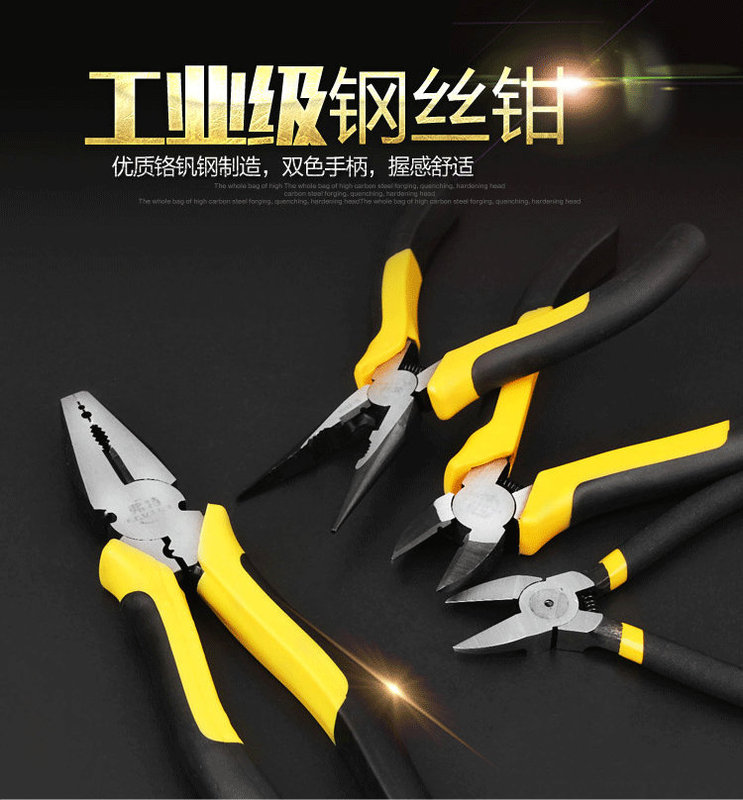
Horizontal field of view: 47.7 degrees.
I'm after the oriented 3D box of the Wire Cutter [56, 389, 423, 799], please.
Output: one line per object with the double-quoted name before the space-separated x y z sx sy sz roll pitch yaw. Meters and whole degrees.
"Wire Cutter" -0.197 0.252 0.991 0.188 0.074 0.727 -27 48 -22
